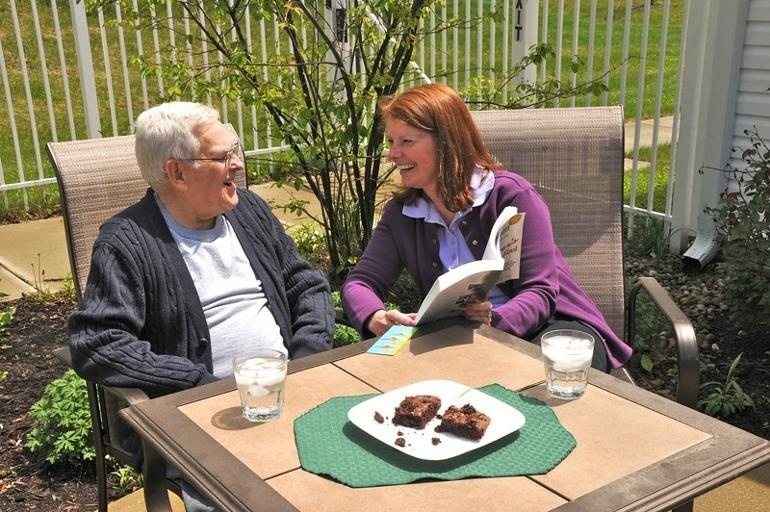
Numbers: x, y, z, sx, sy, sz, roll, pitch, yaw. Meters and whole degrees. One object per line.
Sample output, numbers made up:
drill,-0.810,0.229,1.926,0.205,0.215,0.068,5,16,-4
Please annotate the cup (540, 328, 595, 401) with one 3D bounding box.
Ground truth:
cup,0.605,0.362,2.085,0.208,0.242,0.212,-2,17,1

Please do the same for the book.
book,0.409,0.039,2.661,0.495,0.470,0.207,-28,69,-29

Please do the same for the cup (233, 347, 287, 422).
cup,-0.405,0.428,2.046,0.197,0.224,0.194,-2,19,1

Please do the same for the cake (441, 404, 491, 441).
cake,0.258,0.520,1.872,0.103,0.050,0.106,12,24,28
